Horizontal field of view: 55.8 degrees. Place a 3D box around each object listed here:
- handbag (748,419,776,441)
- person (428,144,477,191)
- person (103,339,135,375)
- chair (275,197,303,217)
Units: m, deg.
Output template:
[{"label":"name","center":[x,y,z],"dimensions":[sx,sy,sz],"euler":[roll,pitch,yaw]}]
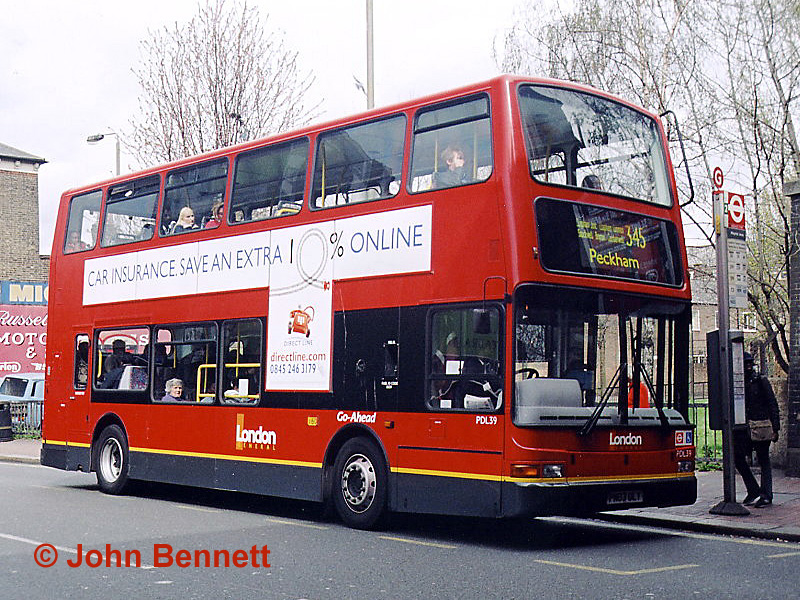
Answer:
[{"label":"handbag","center":[5.685,2.062,11.888],"dimensions":[0.266,0.303,0.110],"euler":[-6,6,8]},{"label":"person","center":[0.699,-1.723,9.741],"dimensions":[0.184,0.561,0.745],"euler":[1,0,-39]},{"label":"person","center":[-5.416,1.121,14.626],"dimensions":[0.458,0.961,0.477],"euler":[7,-8,-14]},{"label":"chair","center":[-1.762,-1.434,11.845],"dimensions":[0.261,0.143,0.343],"euler":[-1,-2,-37]}]
